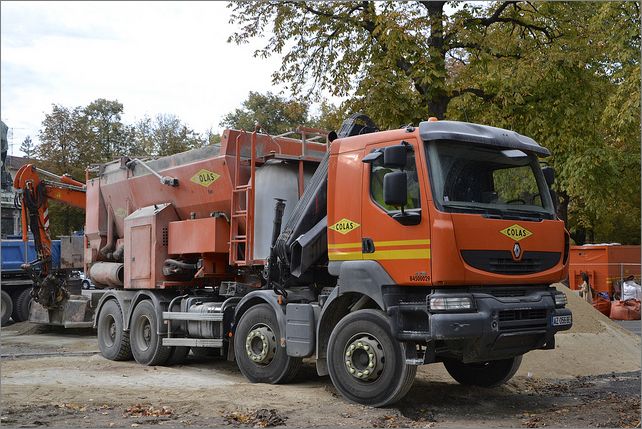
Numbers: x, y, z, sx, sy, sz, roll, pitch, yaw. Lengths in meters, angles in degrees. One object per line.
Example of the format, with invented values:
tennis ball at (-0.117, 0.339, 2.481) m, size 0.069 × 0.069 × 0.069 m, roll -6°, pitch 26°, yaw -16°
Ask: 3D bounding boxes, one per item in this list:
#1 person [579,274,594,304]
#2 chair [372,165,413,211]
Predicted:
person at (10.459, 2.876, 22.076) m, size 0.388 × 1.158 × 1.178 m, roll 0°, pitch -3°, yaw 23°
chair at (1.254, -0.486, 9.078) m, size 0.588 × 0.597 × 0.318 m, roll 11°, pitch 28°, yaw 44°
